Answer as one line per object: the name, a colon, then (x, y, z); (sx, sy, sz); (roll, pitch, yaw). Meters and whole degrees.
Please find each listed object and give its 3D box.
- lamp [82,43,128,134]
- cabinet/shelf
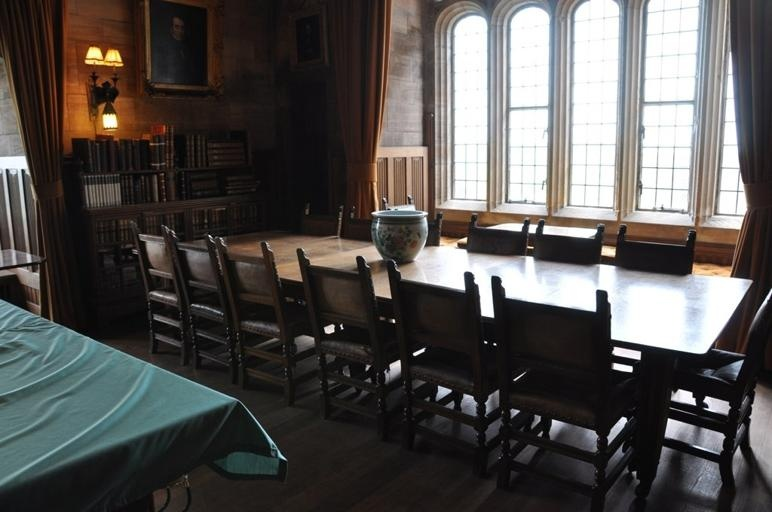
lamp: (-2.890, -1.735, 5.695); (0.380, 0.793, 0.216); (-2, 11, -23)
cabinet/shelf: (-2.202, -0.031, 5.327); (0.430, 1.431, 1.709); (7, 14, 38)
